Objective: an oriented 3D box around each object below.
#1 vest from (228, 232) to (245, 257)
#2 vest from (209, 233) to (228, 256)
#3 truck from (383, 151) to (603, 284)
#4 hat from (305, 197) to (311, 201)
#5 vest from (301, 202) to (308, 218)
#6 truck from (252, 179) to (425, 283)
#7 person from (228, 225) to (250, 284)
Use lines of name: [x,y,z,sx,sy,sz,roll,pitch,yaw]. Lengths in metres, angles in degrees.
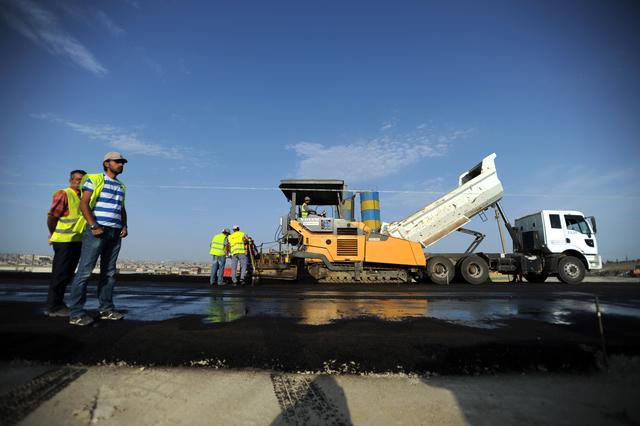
vest: [-2.703,1.009,11.537,0.454,0.755,0.441,-1,10,-14]
vest: [-3.389,1.151,11.945,0.262,0.741,0.598,11,14,44]
truck: [6.717,0.437,13.474,7.432,5.225,2.334,0,10,-7]
hat: [-0.468,-0.506,13.230,0.213,0.070,0.146,5,-7,-30]
vest: [-0.587,-0.029,12.879,0.123,0.423,0.315,-7,7,-14]
truck: [0.683,1.104,14.349,7.663,3.579,2.852,1,-7,-2]
person: [-2.705,1.468,11.703,0.604,2.034,0.790,-2,10,-14]
